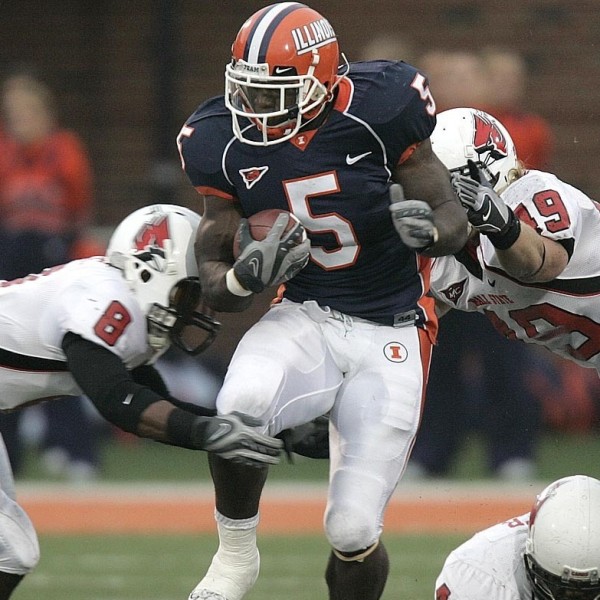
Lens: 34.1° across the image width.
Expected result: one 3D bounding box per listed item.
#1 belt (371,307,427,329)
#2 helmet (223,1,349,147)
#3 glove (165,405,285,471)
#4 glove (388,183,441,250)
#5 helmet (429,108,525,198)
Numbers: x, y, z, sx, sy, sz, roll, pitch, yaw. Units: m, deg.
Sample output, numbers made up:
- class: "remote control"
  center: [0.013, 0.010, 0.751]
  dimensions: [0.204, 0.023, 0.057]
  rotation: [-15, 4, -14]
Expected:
- class: "belt"
  center: [0.348, 0.064, 3.214]
  dimensions: [0.113, 0.038, 0.073]
  rotation: [-14, 5, 2]
- class: "helmet"
  center: [-0.046, -0.687, 2.995]
  dimensions: [0.367, 0.437, 0.200]
  rotation: [-3, 4, -1]
- class: "glove"
  center: [-0.216, 0.382, 2.759]
  dimensions: [0.313, 0.089, 0.148]
  rotation: [12, 4, -9]
- class: "glove"
  center: [0.318, -0.234, 2.825]
  dimensions: [0.123, 0.075, 0.184]
  rotation: [-21, 65, -45]
- class: "helmet"
  center: [0.557, -0.565, 3.630]
  dimensions: [0.318, 0.274, 0.387]
  rotation: [7, 16, 26]
